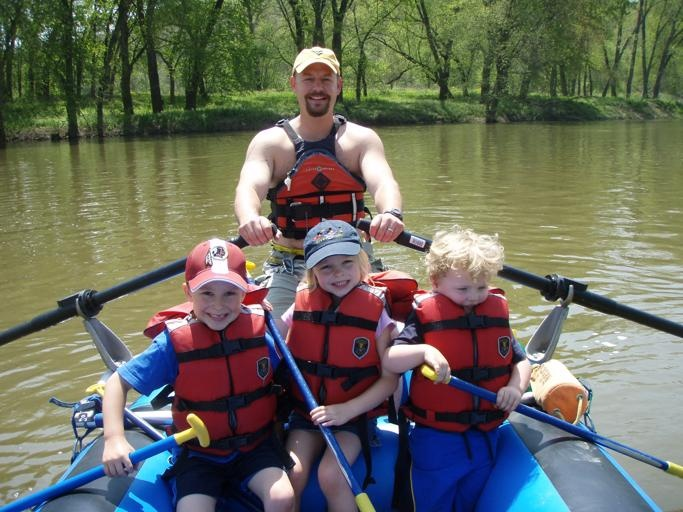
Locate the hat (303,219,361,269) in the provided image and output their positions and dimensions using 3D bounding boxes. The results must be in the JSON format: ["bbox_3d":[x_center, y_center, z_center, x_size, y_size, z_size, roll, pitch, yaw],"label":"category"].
[{"bbox_3d":[-0.047,-0.058,3.708,0.210,0.152,0.282,-15,-7,5],"label":"hat"}]

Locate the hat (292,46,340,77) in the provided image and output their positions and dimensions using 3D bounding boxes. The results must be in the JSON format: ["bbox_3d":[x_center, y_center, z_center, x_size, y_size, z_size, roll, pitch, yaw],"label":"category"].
[{"bbox_3d":[-0.160,-1.205,4.469,0.274,0.175,0.295,-3,14,-4],"label":"hat"}]
